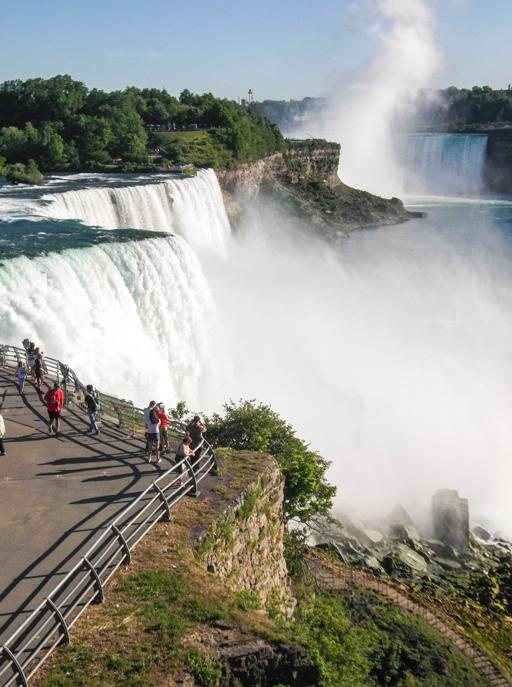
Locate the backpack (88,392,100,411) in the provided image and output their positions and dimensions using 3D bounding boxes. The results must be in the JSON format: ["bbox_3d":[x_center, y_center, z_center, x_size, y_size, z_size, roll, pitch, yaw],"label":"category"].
[{"bbox_3d":[-3.954,1.459,15.726,0.234,0.463,0.376,7,5,7],"label":"backpack"}]

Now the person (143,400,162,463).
[{"bbox_3d":[-2.277,1.943,14.234,0.414,1.386,0.746,6,5,-8],"label":"person"}]

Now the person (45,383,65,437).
[{"bbox_3d":[-4.924,1.552,15.612,0.389,1.271,1.046,5,5,-17],"label":"person"}]
